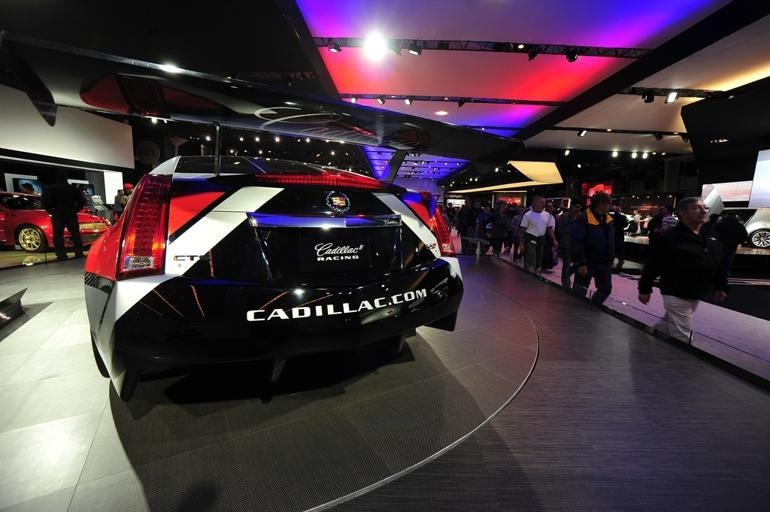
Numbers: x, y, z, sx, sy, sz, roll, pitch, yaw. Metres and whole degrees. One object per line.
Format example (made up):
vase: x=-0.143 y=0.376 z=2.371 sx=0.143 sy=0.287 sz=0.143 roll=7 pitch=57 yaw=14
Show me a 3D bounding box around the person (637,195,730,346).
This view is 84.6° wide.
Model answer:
person: x=3.280 y=0.111 z=4.652 sx=0.788 sy=1.499 sz=1.395 roll=10 pitch=14 yaw=38
